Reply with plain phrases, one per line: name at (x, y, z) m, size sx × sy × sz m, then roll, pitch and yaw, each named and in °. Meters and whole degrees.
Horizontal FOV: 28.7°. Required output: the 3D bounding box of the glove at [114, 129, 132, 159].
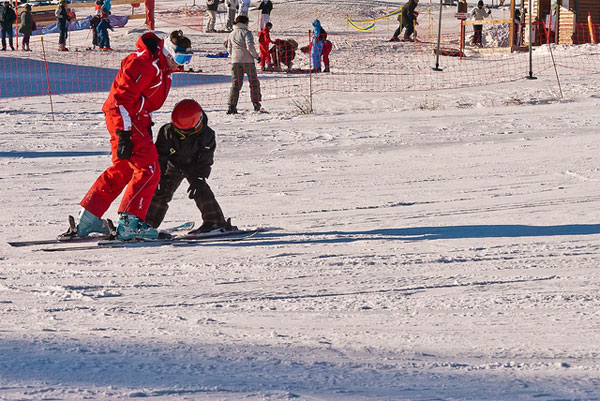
glove at (-2.606, -0.839, 17.577) m, size 0.245 × 0.474 × 0.189 m, roll 0°, pitch 11°, yaw 10°

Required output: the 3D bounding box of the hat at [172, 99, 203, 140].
hat at (-1.731, -1.246, 18.024) m, size 0.519 × 0.518 × 0.545 m, roll 18°, pitch -10°, yaw -7°

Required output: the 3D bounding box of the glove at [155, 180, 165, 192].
glove at (-2.100, -0.219, 17.914) m, size 0.167 × 0.124 × 0.038 m, roll 17°, pitch -1°, yaw -34°

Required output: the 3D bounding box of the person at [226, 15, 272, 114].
person at (-1.218, -2.970, 25.351) m, size 0.739 × 2.097 × 0.854 m, roll -2°, pitch 11°, yaw -2°

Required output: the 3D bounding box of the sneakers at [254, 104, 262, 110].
sneakers at (-0.907, -2.038, 25.450) m, size 0.178 × 0.136 × 0.065 m, roll 0°, pitch -22°, yaw -12°

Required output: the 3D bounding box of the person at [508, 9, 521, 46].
person at (6.358, -5.284, 34.956) m, size 0.401 × 1.514 × 0.251 m, roll 2°, pitch -7°, yaw 14°

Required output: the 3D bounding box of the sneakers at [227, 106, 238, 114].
sneakers at (-1.434, -1.972, 25.202) m, size 0.254 × 0.189 × 0.134 m, roll 2°, pitch 10°, yaw -1°

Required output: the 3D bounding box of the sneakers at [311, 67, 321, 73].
sneakers at (0.419, -3.460, 30.821) m, size 0.247 × 0.185 × 0.165 m, roll 6°, pitch 6°, yaw 7°
